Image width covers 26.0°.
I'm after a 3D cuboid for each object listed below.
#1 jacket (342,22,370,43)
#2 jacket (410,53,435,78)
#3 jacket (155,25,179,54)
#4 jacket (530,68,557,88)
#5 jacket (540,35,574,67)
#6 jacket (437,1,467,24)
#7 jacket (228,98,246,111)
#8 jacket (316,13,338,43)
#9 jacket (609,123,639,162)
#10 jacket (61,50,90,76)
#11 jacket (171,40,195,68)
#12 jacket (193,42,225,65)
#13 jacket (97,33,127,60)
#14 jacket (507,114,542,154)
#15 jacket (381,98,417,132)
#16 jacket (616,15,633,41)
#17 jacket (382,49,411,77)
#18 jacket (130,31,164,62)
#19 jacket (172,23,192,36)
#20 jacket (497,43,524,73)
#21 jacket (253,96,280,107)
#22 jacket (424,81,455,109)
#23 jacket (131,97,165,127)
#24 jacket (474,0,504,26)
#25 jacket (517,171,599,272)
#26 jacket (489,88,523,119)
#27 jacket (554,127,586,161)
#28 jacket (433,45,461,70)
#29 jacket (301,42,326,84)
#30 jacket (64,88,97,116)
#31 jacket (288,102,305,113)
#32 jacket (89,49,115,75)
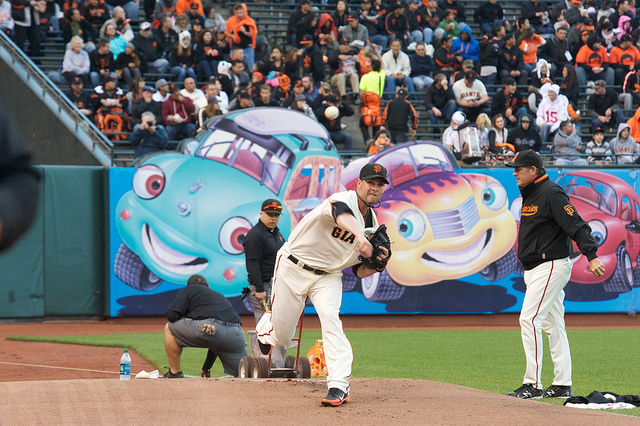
[{"bbox_3d":[1.011,-5.114,39.365,0.760,0.702,0.307,0,-3,-10],"label":"jacket"},{"bbox_3d":[2.872,-4.172,39.101,0.733,0.670,0.178,-2,2,-27],"label":"jacket"},{"bbox_3d":[-4.152,-4.759,38.019,0.734,0.792,0.437,0,19,-25],"label":"jacket"},{"bbox_3d":[6.297,-3.837,39.389,0.670,0.537,0.659,-2,2,0],"label":"jacket"},{"bbox_3d":[6.916,-4.717,40.400,1.117,0.916,0.621,1,9,-14],"label":"jacket"},{"bbox_3d":[3.873,-5.978,41.278,0.732,0.666,0.419,-13,19,-19],"label":"jacket"},{"bbox_3d":[-2.154,-2.867,36.312,0.346,0.337,0.555,-2,2,-15],"label":"jacket"},{"bbox_3d":[0.250,-5.294,39.333,0.756,0.887,0.732,-5,16,-7],"label":"jacket"},{"bbox_3d":[8.136,-1.898,37.320,0.759,1.007,0.709,-1,2,10],"label":"jacket"},{"bbox_3d":[-6.462,-4.058,37.240,0.703,0.692,0.449,-2,2,-10],"label":"jacket"},{"bbox_3d":[-3.797,-4.378,38.165,0.630,0.709,0.642,-2,13,-23],"label":"jacket"},{"bbox_3d":[-3.006,-4.380,38.025,0.711,0.293,0.537,3,13,-9],"label":"jacket"},{"bbox_3d":[-5.544,-4.496,37.496,0.679,0.629,0.355,-18,7,-34],"label":"jacket"},{"bbox_3d":[5.431,-2.064,37.024,1.026,1.179,0.760,-1,-12,27],"label":"jacket"},{"bbox_3d":[2.141,-2.640,37.206,1.088,0.908,0.475,7,4,27],"label":"jacket"},{"bbox_3d":[9.014,-5.589,41.468,0.351,0.740,0.629,0,2,42],"label":"jacket"},{"bbox_3d":[2.158,-4.194,38.755,0.801,0.763,0.446,-2,2,-4],"label":"jacket"},{"bbox_3d":[-4.671,-4.539,37.941,1.040,0.857,0.557,-8,11,-24],"label":"jacket"},{"bbox_3d":[-3.753,-5.059,38.133,0.354,0.105,0.340,-1,-18,-14],"label":"jacket"},{"bbox_3d":[5.408,-4.503,39.974,0.973,0.970,0.687,-5,11,-17],"label":"jacket"},{"bbox_3d":[-1.372,-2.922,36.293,0.679,0.298,0.585,-2,2,-3],"label":"jacket"},{"bbox_3d":[3.272,-3.215,38.359,0.785,0.857,0.726,-4,44,-17],"label":"jacket"},{"bbox_3d":[-4.480,-2.662,36.179,0.666,0.718,0.746,-1,-2,-35],"label":"jacket"},{"bbox_3d":[5.079,-6.132,42.437,1.145,1.039,0.655,-3,6,-7],"label":"jacket"},{"bbox_3d":[5.066,0.203,30.076,1.152,2.013,2.444,-8,1,-29],"label":"jacket"},{"bbox_3d":[5.146,-3.030,38.105,0.956,0.799,0.569,5,-3,25],"label":"jacket"},{"bbox_3d":[6.630,-1.866,37.282,0.780,0.907,0.738,-1,2,4],"label":"jacket"},{"bbox_3d":[3.573,-4.433,39.545,0.909,0.628,0.641,-9,3,-45],"label":"jacket"},{"bbox_3d":[-0.160,-4.117,38.215,0.508,1.091,0.586,-3,2,-36],"label":"jacket"},{"bbox_3d":[-6.246,-2.973,36.827,0.885,0.716,0.335,-1,2,3],"label":"jacket"},{"bbox_3d":[-0.642,-2.814,36.765,0.582,0.273,0.286,0,2,34],"label":"jacket"},{"bbox_3d":[-5.737,-4.017,37.330,0.709,0.688,0.405,-3,16,-2],"label":"jacket"}]
